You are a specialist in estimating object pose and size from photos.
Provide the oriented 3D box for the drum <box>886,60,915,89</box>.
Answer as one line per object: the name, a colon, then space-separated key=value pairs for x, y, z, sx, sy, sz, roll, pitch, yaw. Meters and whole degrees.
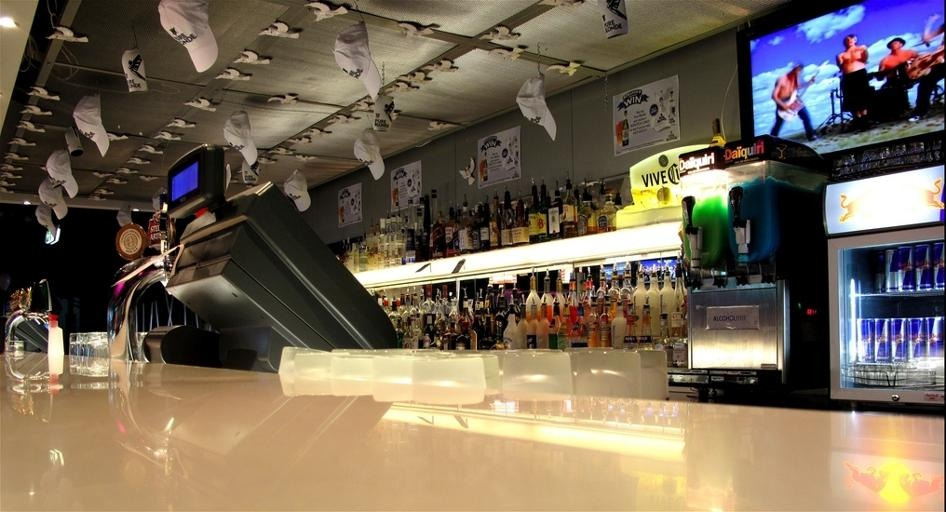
drum: x=2.452 y=-1.043 z=3.435 sx=0.154 sy=0.129 sz=0.121 roll=0 pitch=1 yaw=-11

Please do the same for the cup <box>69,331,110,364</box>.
cup: x=-1.587 y=0.379 z=2.472 sx=0.164 sy=0.106 sz=0.086 roll=0 pitch=-7 yaw=-2
